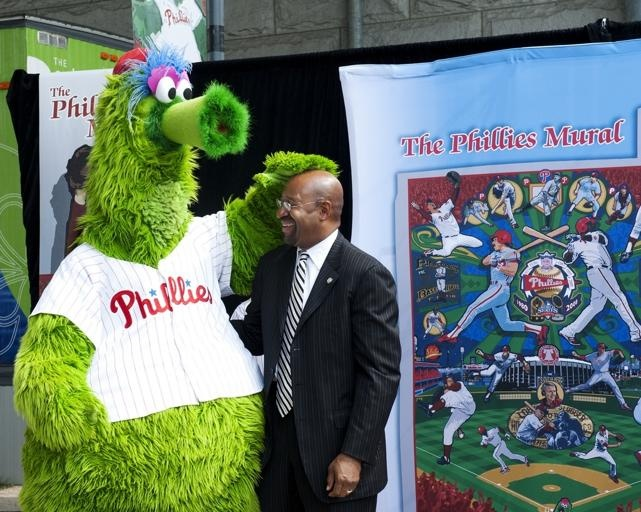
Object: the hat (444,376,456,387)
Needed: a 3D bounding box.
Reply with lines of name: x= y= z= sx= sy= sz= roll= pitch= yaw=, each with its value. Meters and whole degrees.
hat: x=0.580 y=0.570 z=4.151 sx=0.034 sy=0.049 sz=0.048 roll=-6 pitch=-30 yaw=-9
